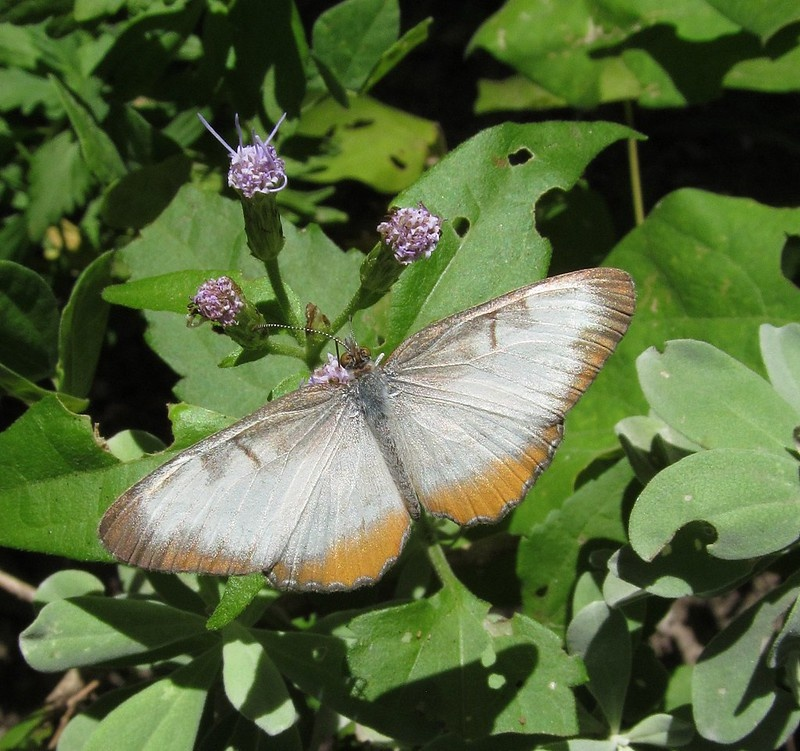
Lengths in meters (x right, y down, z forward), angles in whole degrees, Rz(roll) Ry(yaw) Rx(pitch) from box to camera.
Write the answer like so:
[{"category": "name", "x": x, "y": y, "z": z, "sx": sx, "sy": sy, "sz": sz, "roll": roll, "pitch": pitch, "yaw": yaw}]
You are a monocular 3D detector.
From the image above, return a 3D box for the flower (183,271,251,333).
[{"category": "flower", "x": -0.439, "y": -0.176, "z": 2.128, "sx": 0.147, "sy": 0.122, "sz": 0.127, "roll": -13, "pitch": 43, "yaw": -7}]

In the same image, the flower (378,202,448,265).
[{"category": "flower", "x": 0.035, "y": -0.378, "z": 2.187, "sx": 0.119, "sy": 0.107, "sz": 0.042, "roll": 20, "pitch": 76, "yaw": 24}]

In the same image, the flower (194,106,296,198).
[{"category": "flower", "x": -0.351, "y": -0.517, "z": 2.174, "sx": 0.316, "sy": 0.143, "sz": 0.250, "roll": -11, "pitch": 9, "yaw": 9}]
